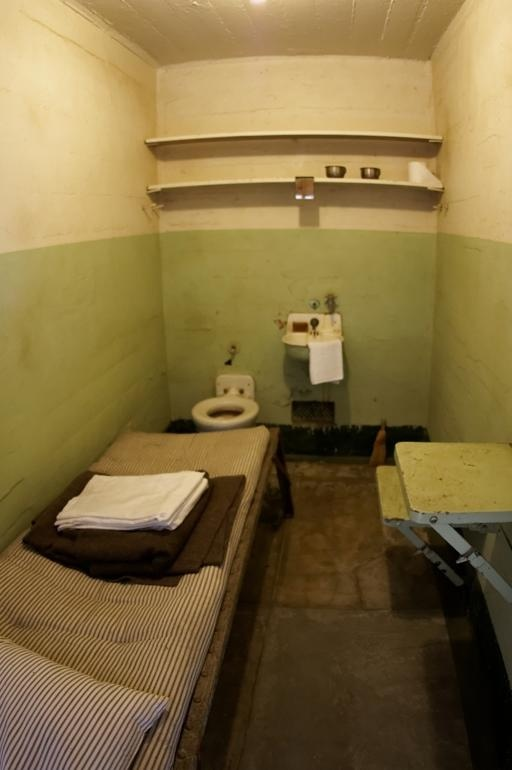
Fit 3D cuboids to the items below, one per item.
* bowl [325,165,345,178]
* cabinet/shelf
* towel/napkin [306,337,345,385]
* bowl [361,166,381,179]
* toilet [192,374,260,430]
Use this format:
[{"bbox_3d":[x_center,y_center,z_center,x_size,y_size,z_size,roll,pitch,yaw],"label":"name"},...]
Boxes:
[{"bbox_3d":[0.455,-1.205,3.223,0.084,0.051,0.091,-1,12,0],"label":"bowl"},{"bbox_3d":[0.210,-1.299,3.388,1.713,0.366,0.287,-2,9,-7],"label":"cabinet/shelf"},{"bbox_3d":[0.411,-0.127,3.366,0.213,0.280,0.145,-6,16,-10],"label":"towel/napkin"},{"bbox_3d":[0.652,-1.211,3.216,0.098,0.066,0.078,-2,16,8],"label":"bowl"},{"bbox_3d":[-0.168,0.180,3.601,0.383,0.282,0.697,0,21,8],"label":"toilet"}]
